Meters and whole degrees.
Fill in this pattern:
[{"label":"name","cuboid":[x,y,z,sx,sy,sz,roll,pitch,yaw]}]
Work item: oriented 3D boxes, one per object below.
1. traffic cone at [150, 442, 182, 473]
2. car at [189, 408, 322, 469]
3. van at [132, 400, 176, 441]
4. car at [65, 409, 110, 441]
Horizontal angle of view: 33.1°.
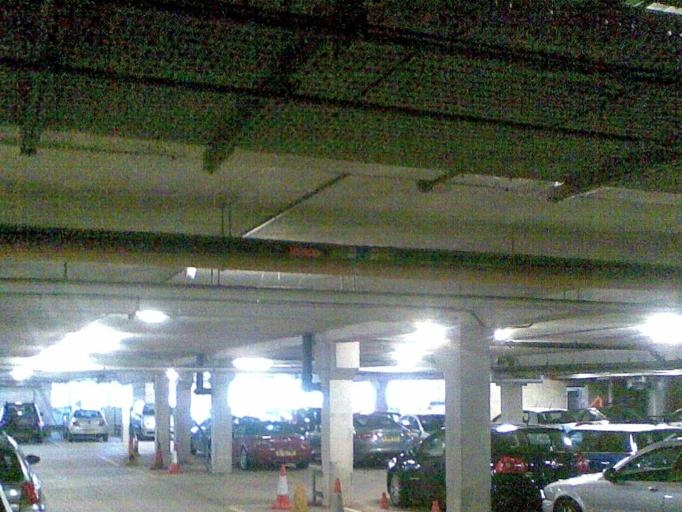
[{"label":"traffic cone","cuboid":[-4.400,5.127,28.782,0.699,0.878,0.811,4,-9,-19]},{"label":"car","cuboid":[-2.191,4.805,29.696,1.564,1.110,3.523,3,-8,-19]},{"label":"van","cuboid":[-7.323,6.228,43.787,1.775,1.672,4.157,2,-14,-16]},{"label":"car","cuboid":[-9.551,6.350,43.101,1.419,1.258,1.538,2,-11,-17]}]
